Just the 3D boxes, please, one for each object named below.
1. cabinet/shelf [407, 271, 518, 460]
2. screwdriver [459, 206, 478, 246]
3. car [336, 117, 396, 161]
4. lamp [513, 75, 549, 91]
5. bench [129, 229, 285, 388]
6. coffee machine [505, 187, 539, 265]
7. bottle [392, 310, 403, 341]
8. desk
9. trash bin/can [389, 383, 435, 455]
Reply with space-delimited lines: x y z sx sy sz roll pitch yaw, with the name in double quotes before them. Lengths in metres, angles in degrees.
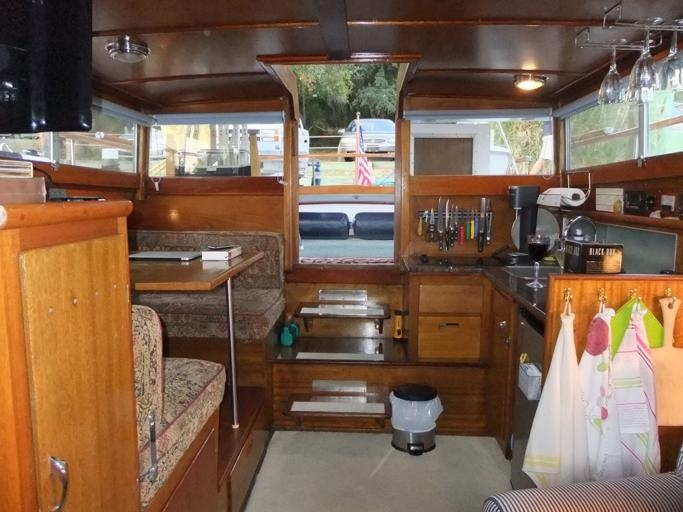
"cabinet/shelf" 0.791 0.578 3.511 0.742 1.215 0.999 0 1 9
"screwdriver" 0.976 -0.222 4.051 0.146 0.252 0.073 0 10 7
"car" 0.619 -2.723 12.134 0.979 0.678 2.114 0 14 1
"lamp" 1.236 -1.142 3.469 0.200 0.066 0.264 8 13 41
"bench" -0.871 0.337 3.695 1.068 0.714 1.031 1 5 2
"coffee machine" 1.273 -0.247 3.714 0.198 0.471 0.257 2 10 18
"bottle" 0.431 0.516 4.090 0.086 0.224 0.226 0 10 4
"desk" -0.764 0.404 2.872 0.909 0.534 0.881 1 13 2
"trash bin/can" 0.401 1.034 3.406 0.377 0.341 0.365 0 -2 0
